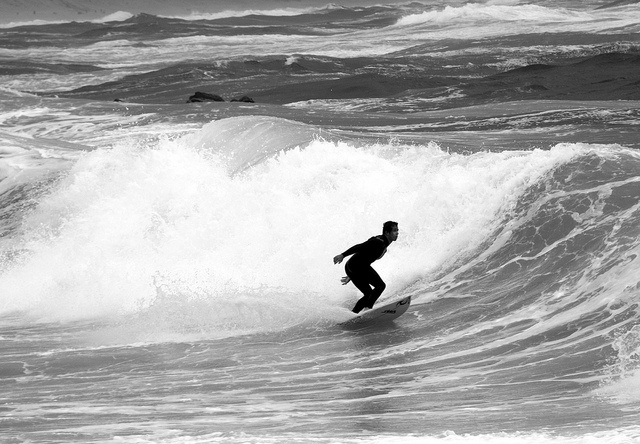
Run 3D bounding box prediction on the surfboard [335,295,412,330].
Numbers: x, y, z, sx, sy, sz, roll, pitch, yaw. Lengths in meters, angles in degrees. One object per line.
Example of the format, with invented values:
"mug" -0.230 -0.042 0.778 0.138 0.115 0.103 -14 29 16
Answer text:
"surfboard" 0.945 1.609 14.042 1.815 0.244 0.289 -12 7 5
